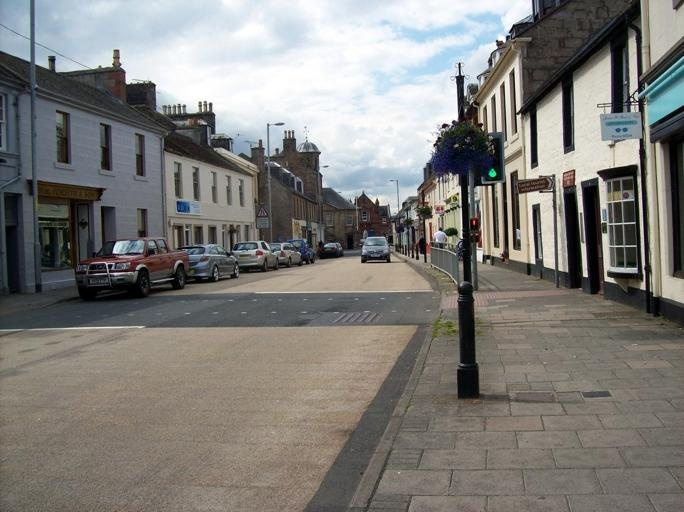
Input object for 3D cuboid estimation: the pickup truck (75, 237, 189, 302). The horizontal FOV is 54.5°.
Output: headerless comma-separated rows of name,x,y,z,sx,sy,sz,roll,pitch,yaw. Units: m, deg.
pickup truck,-6.350,0.324,20.421,1.462,1.259,3.287,-2,-2,11
